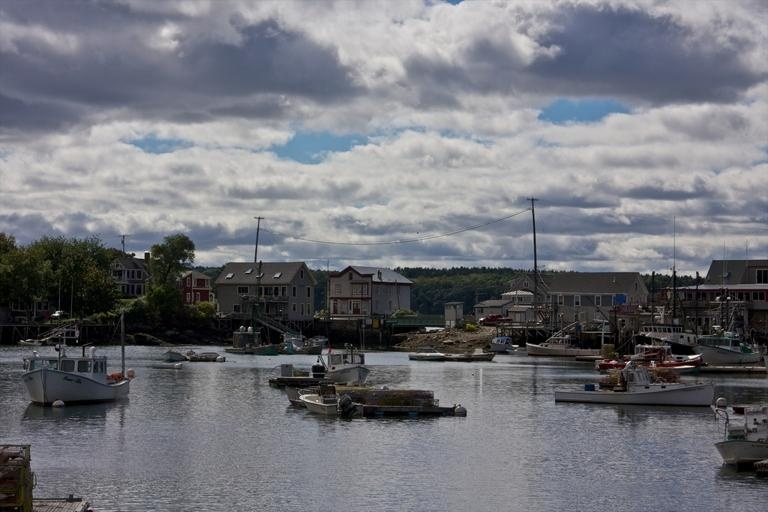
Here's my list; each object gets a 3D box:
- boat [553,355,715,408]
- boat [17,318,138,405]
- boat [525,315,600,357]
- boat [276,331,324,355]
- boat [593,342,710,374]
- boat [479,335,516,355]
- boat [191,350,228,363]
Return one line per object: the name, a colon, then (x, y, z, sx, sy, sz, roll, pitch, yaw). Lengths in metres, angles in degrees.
boat: (21.383, 10.664, 97.868, 13.754, 3.697, 5.874, 0, -1, -3)
boat: (-23.634, 9.244, 90.091, 4.590, 6.186, 10.686, -4, -7, 20)
boat: (20.880, 11.508, 142.371, 10.420, 3.730, 3.307, -2, 5, -7)
boat: (-10.884, 11.410, 148.555, 2.212, 2.095, 6.359, -2, -2, -45)
boat: (26.753, 10.023, 114.044, 12.663, 3.258, 5.208, 0, -3, -3)
boat: (14.419, 11.128, 146.053, 3.981, 2.362, 4.741, -1, -7, 4)
boat: (-19.975, 11.243, 128.434, 2.527, 0.906, 1.727, 0, 2, 2)
